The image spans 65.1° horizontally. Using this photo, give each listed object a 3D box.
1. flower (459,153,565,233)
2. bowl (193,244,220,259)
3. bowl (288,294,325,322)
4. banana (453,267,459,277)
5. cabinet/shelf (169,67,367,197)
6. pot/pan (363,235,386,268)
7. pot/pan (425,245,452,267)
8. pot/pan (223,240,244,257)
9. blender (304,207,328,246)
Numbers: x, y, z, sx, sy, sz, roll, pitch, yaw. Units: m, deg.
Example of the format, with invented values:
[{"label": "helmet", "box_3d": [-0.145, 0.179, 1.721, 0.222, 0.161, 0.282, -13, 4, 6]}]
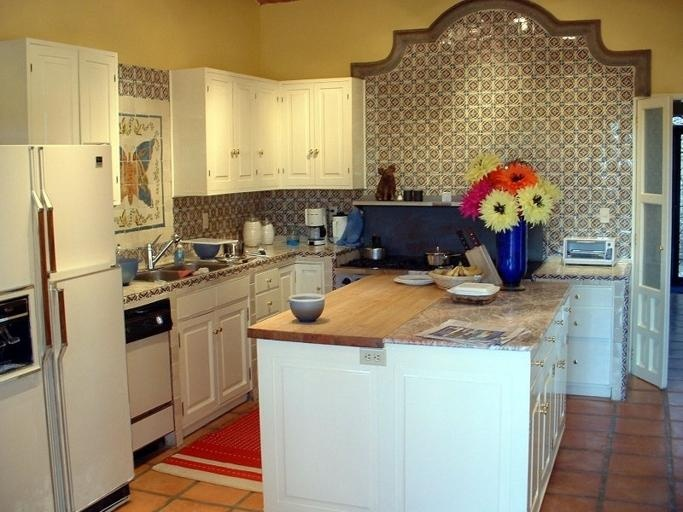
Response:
[{"label": "flower", "box_3d": [1.158, -0.411, 3.778, 0.613, 0.630, 0.612, -3, 10, -18]}, {"label": "bowl", "box_3d": [-1.245, -0.056, 4.876, 0.148, 0.074, 0.188, -2, 3, 3]}, {"label": "bowl", "box_3d": [-0.198, 0.279, 2.974, 0.161, 0.099, 0.161, 0, 1, 0]}, {"label": "banana", "box_3d": [0.811, 0.112, 3.784, 0.055, 0.061, 0.056, 4, 14, 24]}, {"label": "cabinet/shelf", "box_3d": [-0.710, -1.158, 5.141, 1.257, 1.194, 1.879, 3, 9, 23]}, {"label": "pot/pan", "box_3d": [0.343, -0.046, 5.582, 0.232, 0.314, 0.322, 0, 2, 0]}, {"label": "pot/pan", "box_3d": [0.960, 0.002, 5.264, 0.212, 0.216, 0.365, 0, -1, 0]}, {"label": "pot/pan", "box_3d": [-1.047, -0.089, 5.148, 0.192, 0.177, 0.564, -3, 9, -12]}, {"label": "blender", "box_3d": [-0.273, -0.329, 5.805, 0.229, 0.383, 0.373, -1, 9, -3]}]
